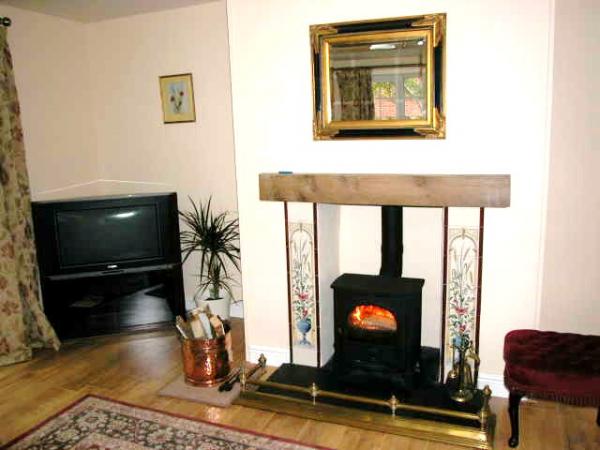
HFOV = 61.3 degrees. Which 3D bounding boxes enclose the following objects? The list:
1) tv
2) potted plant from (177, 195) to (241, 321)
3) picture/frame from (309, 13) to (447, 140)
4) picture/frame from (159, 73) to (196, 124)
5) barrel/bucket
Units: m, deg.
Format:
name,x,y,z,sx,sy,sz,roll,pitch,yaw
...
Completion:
name,x,y,z,sx,sy,sz,roll,pitch,yaw
tv,-1.719,0.117,4.560,0.962,0.684,0.538,-4,6,-18
potted plant,-0.875,0.346,4.919,0.599,1.209,0.624,-3,8,-6
picture/frame,0.580,-1.069,3.526,0.871,0.770,0.071,1,9,15
picture/frame,-1.179,-1.258,4.935,0.478,0.555,0.029,-1,14,20
barrel/bucket,-0.725,1.032,3.958,0.481,0.390,0.496,-3,5,0
